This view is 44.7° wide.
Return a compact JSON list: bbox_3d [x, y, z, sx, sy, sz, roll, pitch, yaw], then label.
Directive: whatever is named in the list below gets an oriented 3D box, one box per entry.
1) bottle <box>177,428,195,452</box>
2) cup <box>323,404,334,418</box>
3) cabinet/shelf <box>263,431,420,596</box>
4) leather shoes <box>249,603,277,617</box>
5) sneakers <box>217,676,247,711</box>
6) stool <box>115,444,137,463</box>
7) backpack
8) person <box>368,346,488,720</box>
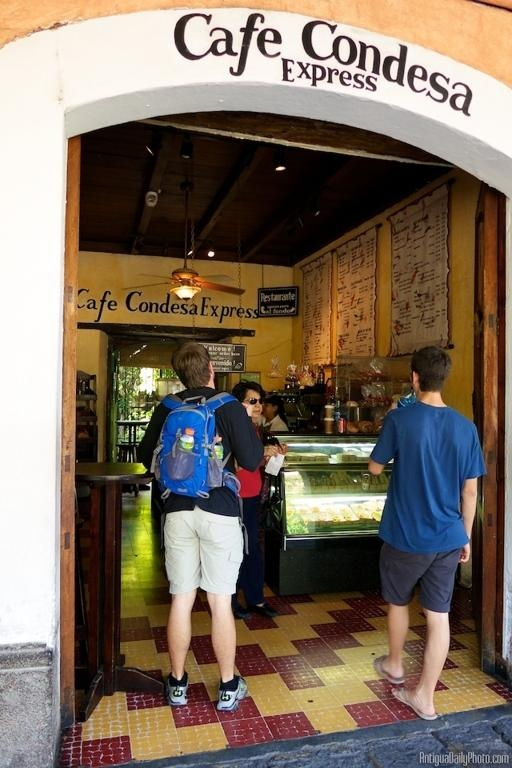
[{"bbox_3d":[-0.291,0.241,2.687,0.092,0.096,0.089,7,-13,6],"label":"bottle"},{"bbox_3d":[0.630,0.227,5.169,0.117,0.117,0.107,1,-8,0],"label":"cup"},{"bbox_3d":[0.527,0.934,4.681,1.213,1.102,0.573,5,-1,-35],"label":"cabinet/shelf"},{"bbox_3d":[0.050,1.421,3.963,0.189,0.072,0.068,0,-4,23],"label":"leather shoes"},{"bbox_3d":[-0.109,1.373,2.768,0.081,0.087,0.197,-2,-10,4],"label":"sneakers"},{"bbox_3d":[-2.321,1.235,11.241,0.307,0.361,0.968,2,-2,-14],"label":"stool"},{"bbox_3d":[-0.278,0.269,2.787,0.384,0.426,0.277,3,1,11],"label":"backpack"},{"bbox_3d":[0.784,0.642,2.910,0.508,1.636,0.330,1,-2,27],"label":"person"}]
